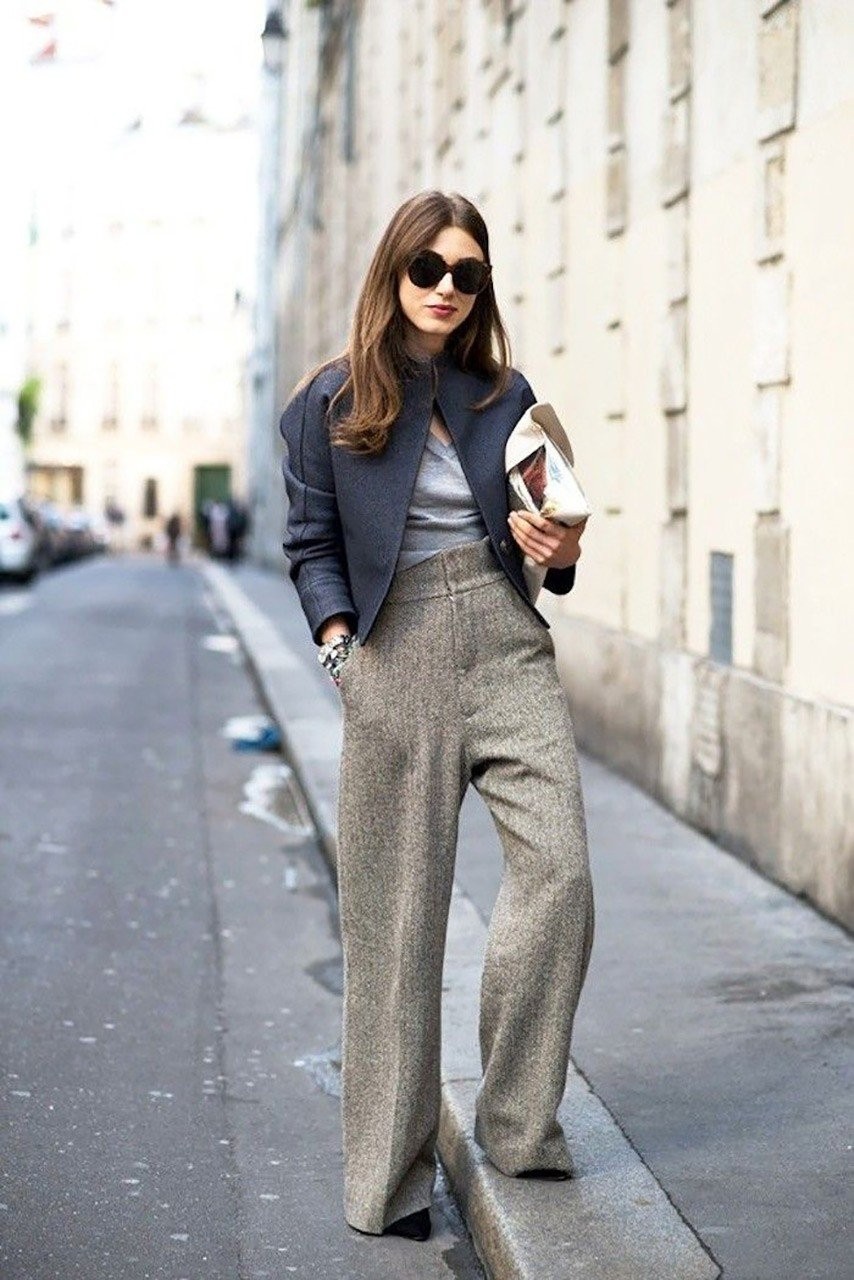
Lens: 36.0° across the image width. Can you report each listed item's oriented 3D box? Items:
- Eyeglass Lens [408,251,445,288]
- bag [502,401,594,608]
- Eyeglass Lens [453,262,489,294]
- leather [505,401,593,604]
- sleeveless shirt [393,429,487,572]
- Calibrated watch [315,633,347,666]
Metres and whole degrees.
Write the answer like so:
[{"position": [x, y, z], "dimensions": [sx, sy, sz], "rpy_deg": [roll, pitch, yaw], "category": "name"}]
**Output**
[{"position": [0.003, -0.563, 2.020], "dimensions": [0.059, 0.057, 0.013], "rpy_deg": [-1, 5, -1], "category": "Eyeglass Lens"}, {"position": [0.175, -0.247, 1.957], "dimensions": [0.096, 0.197, 0.252], "rpy_deg": [0, -18, -11], "category": "bag"}, {"position": [0.074, -0.558, 2.036], "dimensions": [0.059, 0.024, 0.057], "rpy_deg": [-1, 31, -12], "category": "Eyeglass Lens"}, {"position": [0.161, -0.232, 1.984], "dimensions": [0.096, 0.197, 0.250], "rpy_deg": [1, -33, -12], "category": "leather"}, {"position": [0.022, -0.213, 2.006], "dimensions": [0.126, 0.207, 0.054], "rpy_deg": [-1, 5, 3], "category": "sleeveless shirt"}, {"position": [-0.148, 0.012, 2.055], "dimensions": [0.042, 0.052, 0.024], "rpy_deg": [11, 12, -24], "category": "Calibrated watch"}]
